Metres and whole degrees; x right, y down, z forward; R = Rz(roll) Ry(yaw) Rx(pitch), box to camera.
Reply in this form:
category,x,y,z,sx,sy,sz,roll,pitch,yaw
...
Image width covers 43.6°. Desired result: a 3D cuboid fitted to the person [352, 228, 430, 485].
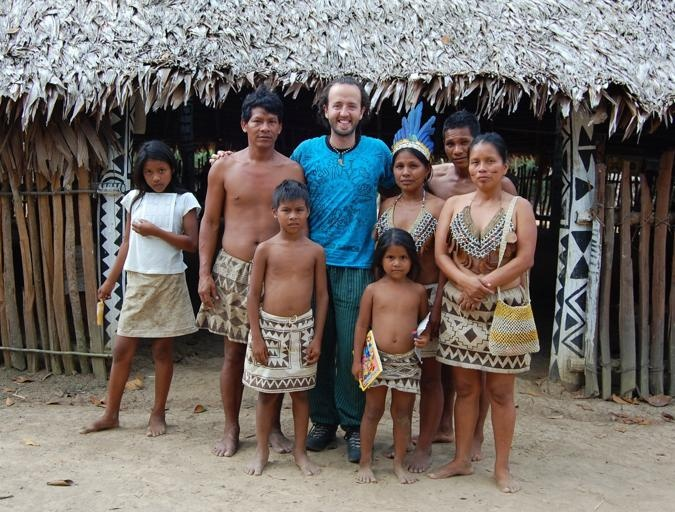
category,x,y,z,sx,sy,sz,roll,pitch,yaw
person,0.384,0.721,6.094,0.541,1.814,0.373,1,7,5

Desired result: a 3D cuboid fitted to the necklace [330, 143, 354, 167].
category,x,y,z,sx,sy,sz,roll,pitch,yaw
necklace,0.041,-0.745,6.316,0.125,0.180,0.065,1,0,0

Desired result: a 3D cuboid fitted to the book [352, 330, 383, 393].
category,x,y,z,sx,sy,sz,roll,pitch,yaw
book,0.236,0.773,6.002,0.094,0.352,0.341,12,32,-23

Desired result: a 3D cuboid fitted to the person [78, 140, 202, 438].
category,x,y,z,sx,sy,sz,roll,pitch,yaw
person,-1.486,0.261,6.640,0.808,2.305,0.386,-1,7,-11

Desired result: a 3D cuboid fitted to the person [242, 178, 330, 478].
category,x,y,z,sx,sy,sz,roll,pitch,yaw
person,-0.373,0.533,6.088,0.606,2.118,0.281,0,7,-3

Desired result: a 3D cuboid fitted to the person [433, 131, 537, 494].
category,x,y,z,sx,sy,sz,roll,pitch,yaw
person,1.039,0.406,6.014,0.697,2.526,0.392,1,7,6
